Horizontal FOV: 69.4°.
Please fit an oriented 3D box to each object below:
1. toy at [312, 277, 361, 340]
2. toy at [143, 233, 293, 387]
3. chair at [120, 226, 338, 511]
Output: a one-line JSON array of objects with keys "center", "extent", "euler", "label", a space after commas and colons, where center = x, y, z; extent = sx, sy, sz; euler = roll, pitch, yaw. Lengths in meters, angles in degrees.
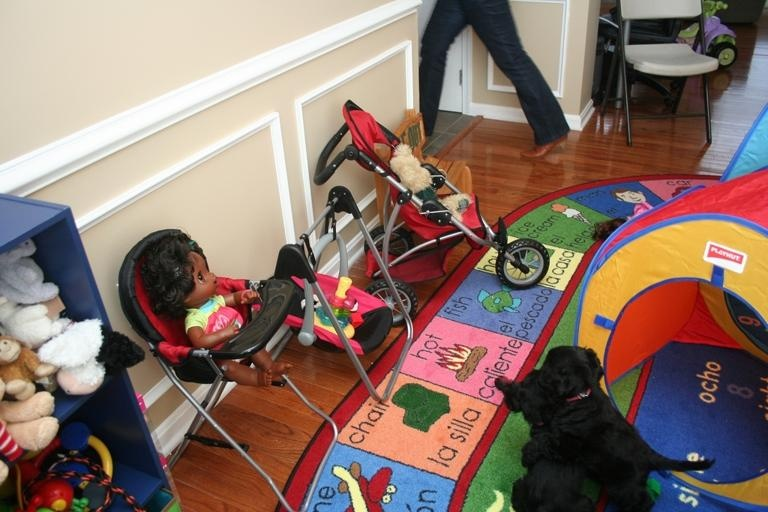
[{"center": [-0.233, 0.252, 2.590], "extent": [0.217, 0.231, 0.215], "euler": [-13, 42, -25], "label": "toy"}, {"center": [-0.727, 0.095, 2.474], "extent": [0.694, 0.741, 0.450], "euler": [9, 34, 6], "label": "toy"}, {"center": [-0.686, 0.512, 2.382], "extent": [0.770, 0.991, 0.575], "euler": [13, 46, 11], "label": "chair"}]
